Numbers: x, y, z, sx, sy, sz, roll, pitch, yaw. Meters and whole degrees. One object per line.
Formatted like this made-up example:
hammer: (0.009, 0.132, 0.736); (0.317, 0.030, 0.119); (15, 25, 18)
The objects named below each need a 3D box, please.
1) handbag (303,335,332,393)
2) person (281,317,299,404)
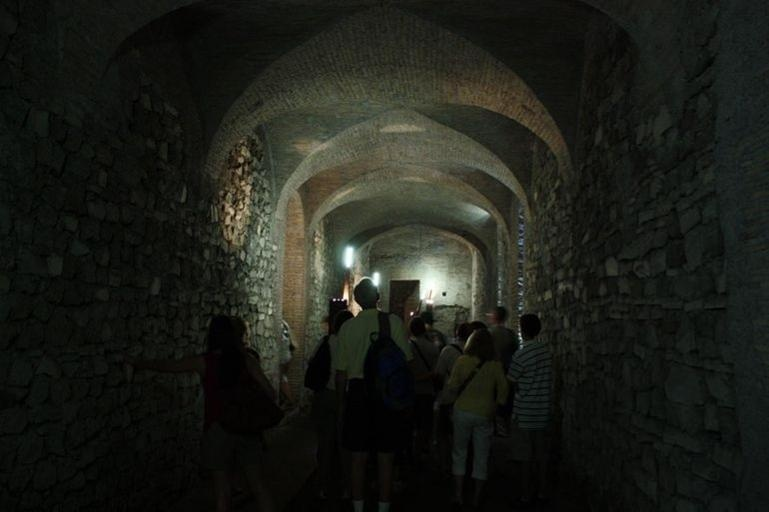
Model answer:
handbag: (-0.624, 1.066, 5.435); (0.131, 0.499, 0.362); (13, -1, 29)
person: (-1.858, 2.055, 10.693); (0.400, 1.614, 1.218); (4, -10, -9)
